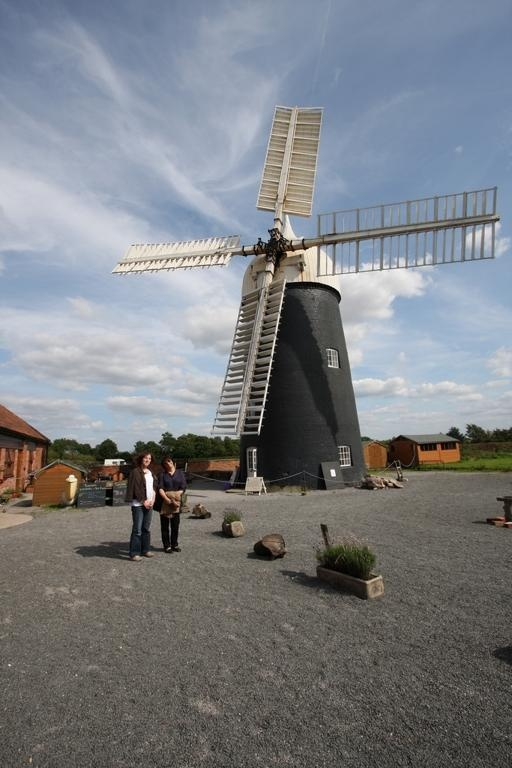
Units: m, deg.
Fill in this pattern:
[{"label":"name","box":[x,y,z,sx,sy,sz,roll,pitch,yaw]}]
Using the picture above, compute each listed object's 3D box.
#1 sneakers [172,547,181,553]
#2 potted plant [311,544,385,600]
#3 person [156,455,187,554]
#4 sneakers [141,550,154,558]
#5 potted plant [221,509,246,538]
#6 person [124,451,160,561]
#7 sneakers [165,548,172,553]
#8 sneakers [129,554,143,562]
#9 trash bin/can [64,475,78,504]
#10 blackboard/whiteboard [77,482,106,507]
[{"label":"sneakers","box":[-1.418,2.998,8.399,0.117,0.054,0.074,1,-46,7]},{"label":"potted plant","box":[1.261,2.556,6.463,0.814,0.532,0.470,-1,-6,44]},{"label":"person","box":[-1.527,2.225,8.551,0.466,1.665,1.206,-1,-7,-10]},{"label":"sneakers","box":[-1.843,2.937,8.041,0.198,0.084,0.077,-3,-9,13]},{"label":"potted plant","box":[-0.490,2.968,9.837,0.528,0.683,0.494,0,-30,-7]},{"label":"person","box":[-1.912,2.084,7.854,0.421,1.742,0.597,-1,-7,-13]},{"label":"sneakers","box":[-1.536,2.974,8.292,0.121,0.080,0.139,0,-7,-15]},{"label":"sneakers","box":[-1.986,2.896,7.782,0.205,0.113,0.250,0,-7,-16]},{"label":"trash bin/can","box":[-6.336,3.763,16.218,0.399,0.964,0.377,1,-7,-28]},{"label":"blackboard/whiteboard","box":[-5.595,3.873,16.016,0.828,0.698,0.124,4,-16,-29]}]
